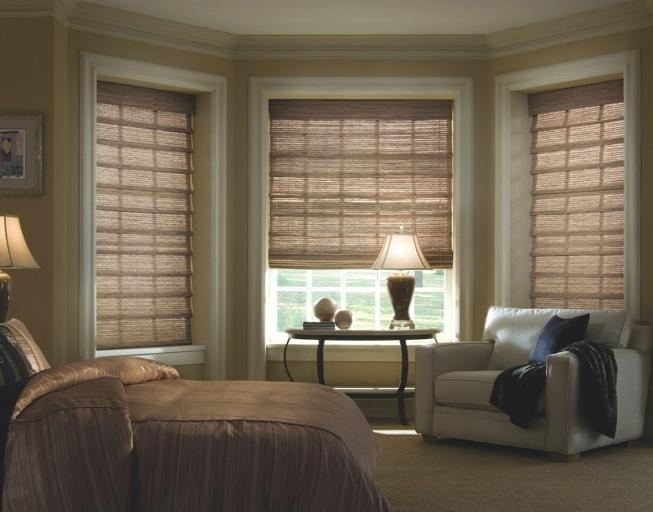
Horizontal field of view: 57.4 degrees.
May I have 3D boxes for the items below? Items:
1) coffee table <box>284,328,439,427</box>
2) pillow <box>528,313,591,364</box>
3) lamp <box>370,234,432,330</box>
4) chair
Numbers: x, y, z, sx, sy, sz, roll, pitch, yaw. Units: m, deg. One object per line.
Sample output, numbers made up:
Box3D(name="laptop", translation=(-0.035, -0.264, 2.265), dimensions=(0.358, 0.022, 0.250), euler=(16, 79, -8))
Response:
Box3D(name="coffee table", translation=(0.241, 0.860, 4.715), dimensions=(1.139, 0.526, 1.058), euler=(0, -2, -13))
Box3D(name="pillow", translation=(1.547, 0.536, 3.917), dimensions=(0.409, 0.315, 0.295), euler=(2, -5, -38))
Box3D(name="lamp", translation=(0.610, 0.187, 4.866), dimensions=(0.450, 0.782, 0.436), euler=(-1, -4, 6))
Box3D(name="chair", translation=(1.199, 0.847, 3.919), dimensions=(1.288, 0.772, 1.362), euler=(6, -7, -44))
